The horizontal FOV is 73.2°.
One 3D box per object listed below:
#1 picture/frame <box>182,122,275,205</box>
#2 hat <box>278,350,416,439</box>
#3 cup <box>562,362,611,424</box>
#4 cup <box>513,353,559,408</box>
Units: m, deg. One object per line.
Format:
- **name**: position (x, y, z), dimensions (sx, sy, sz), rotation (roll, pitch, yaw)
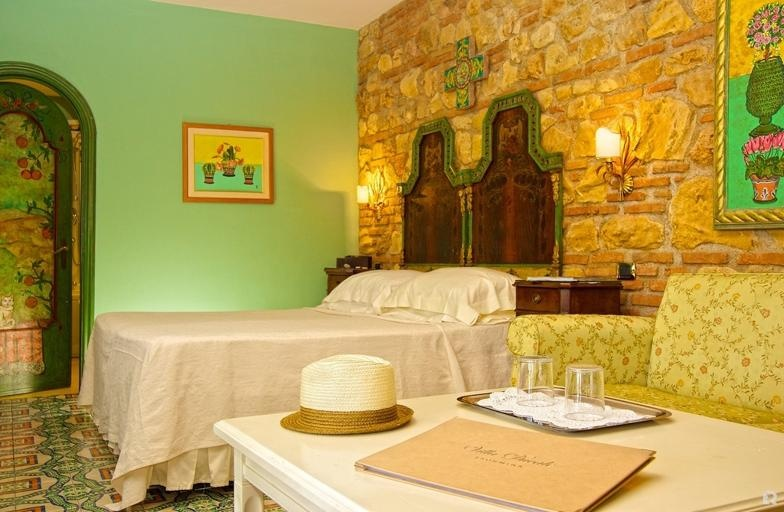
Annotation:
- **picture/frame**: position (-1.820, -1.000, 5.710), dimensions (0.959, 0.770, 0.072), rotation (-1, 4, -20)
- **hat**: position (-0.141, 0.429, 1.689), dimensions (0.289, 0.140, 0.267), rotation (2, -3, -10)
- **cup**: position (0.579, 0.423, 1.673), dimensions (0.158, 0.167, 0.153), rotation (0, 0, 0)
- **cup**: position (0.459, 0.408, 1.762), dimensions (0.148, 0.157, 0.145), rotation (0, 0, 0)
